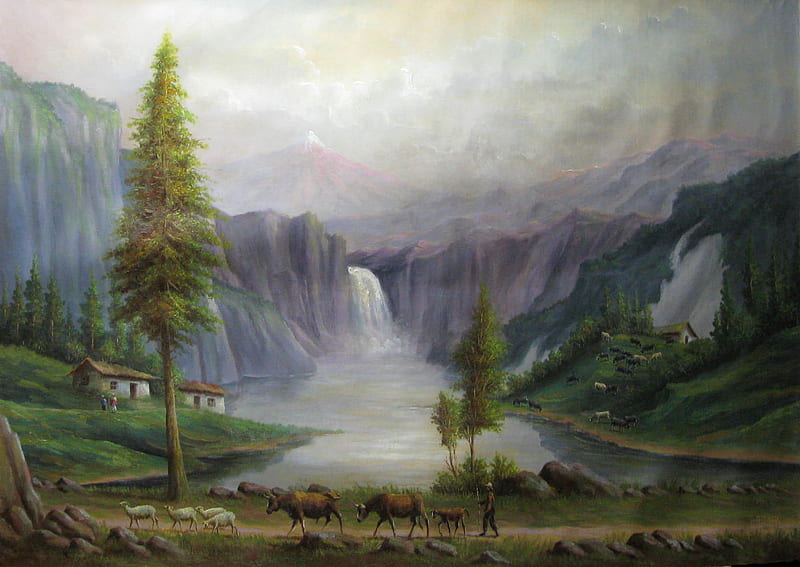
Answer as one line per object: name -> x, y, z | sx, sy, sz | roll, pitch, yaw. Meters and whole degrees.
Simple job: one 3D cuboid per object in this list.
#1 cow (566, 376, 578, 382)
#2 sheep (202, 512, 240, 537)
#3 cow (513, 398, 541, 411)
cow -> 9.286, 5.125, 68.385 | 0.784, 0.428, 0.204 | -2, -24, 17
sheep -> -8.356, 11.247, 59.473 | 1.590, 1.140, 1.389 | -1, -11, -8
cow -> 6.882, 6.489, 68.212 | 1.174, 0.470, 0.293 | 14, -12, 25
